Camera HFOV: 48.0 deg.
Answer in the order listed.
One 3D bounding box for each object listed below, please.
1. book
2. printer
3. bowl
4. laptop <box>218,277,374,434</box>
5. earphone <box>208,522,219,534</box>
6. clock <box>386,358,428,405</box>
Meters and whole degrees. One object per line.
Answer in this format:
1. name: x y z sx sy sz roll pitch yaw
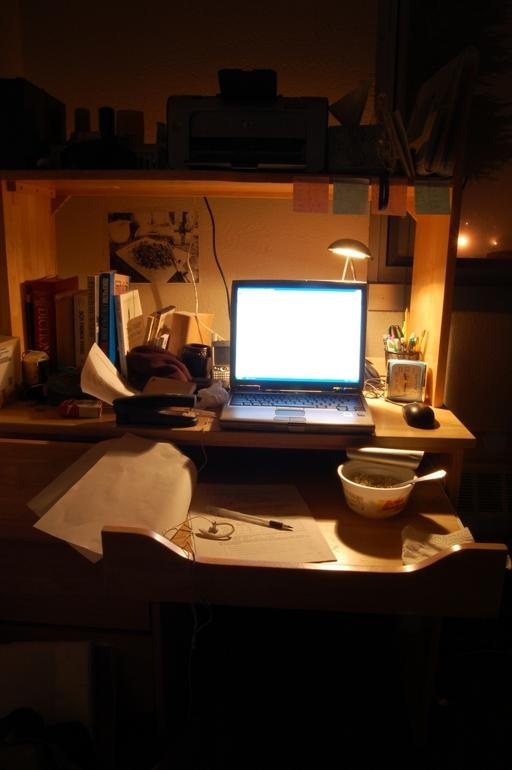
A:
1. book: -0.408 -0.179 1.458 0.267 0.161 0.371 2 12 0
2. printer: -0.020 -0.517 1.137 0.318 0.174 0.095 1 12 3
3. bowl: 0.220 0.191 1.057 0.174 0.089 0.169 1 10 0
4. laptop: 0.085 -0.085 1.280 0.359 0.314 0.307 1 10 3
5. earphone: -0.074 0.238 0.956 0.010 0.014 0.007 3 -26 9
6. clock: 0.341 -0.008 1.312 0.089 0.099 0.098 5 18 8
